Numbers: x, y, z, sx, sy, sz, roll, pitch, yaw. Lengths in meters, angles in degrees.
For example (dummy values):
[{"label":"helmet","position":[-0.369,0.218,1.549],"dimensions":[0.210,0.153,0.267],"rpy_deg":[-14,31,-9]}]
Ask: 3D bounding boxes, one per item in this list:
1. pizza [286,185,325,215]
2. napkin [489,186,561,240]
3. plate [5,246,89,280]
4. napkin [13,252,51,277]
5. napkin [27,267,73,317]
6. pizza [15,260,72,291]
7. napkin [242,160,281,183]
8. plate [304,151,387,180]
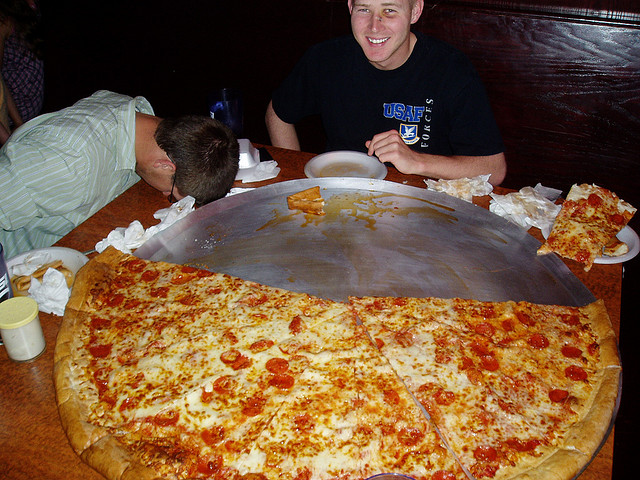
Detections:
[{"label":"pizza","position":[-0.066,-0.226,2.579],"dimensions":[0.214,0.072,0.207],"rpy_deg":[-26,43,-22]},{"label":"napkin","position":[1.150,-0.180,2.507],"dimensions":[0.271,0.093,0.352],"rpy_deg":[32,50,22]},{"label":"plate","position":[-1.288,0.097,2.117],"dimensions":[0.218,0.044,0.214],"rpy_deg":[-18,43,-30]},{"label":"napkin","position":[-1.355,0.124,2.092],"dimensions":[0.127,0.018,0.107],"rpy_deg":[-36,64,-19]},{"label":"napkin","position":[-1.241,0.246,2.042],"dimensions":[0.166,0.172,0.157],"rpy_deg":[3,45,12]},{"label":"pizza","position":[-1.292,0.183,2.073],"dimensions":[0.156,0.051,0.151],"rpy_deg":[11,42,23]},{"label":"napkin","position":[-0.383,-0.441,2.826],"dimensions":[0.192,0.034,0.134],"rpy_deg":[-10,55,14]},{"label":"plate","position":[0.154,-0.489,2.851],"dimensions":[0.515,0.074,0.300],"rpy_deg":[-2,44,6]}]
